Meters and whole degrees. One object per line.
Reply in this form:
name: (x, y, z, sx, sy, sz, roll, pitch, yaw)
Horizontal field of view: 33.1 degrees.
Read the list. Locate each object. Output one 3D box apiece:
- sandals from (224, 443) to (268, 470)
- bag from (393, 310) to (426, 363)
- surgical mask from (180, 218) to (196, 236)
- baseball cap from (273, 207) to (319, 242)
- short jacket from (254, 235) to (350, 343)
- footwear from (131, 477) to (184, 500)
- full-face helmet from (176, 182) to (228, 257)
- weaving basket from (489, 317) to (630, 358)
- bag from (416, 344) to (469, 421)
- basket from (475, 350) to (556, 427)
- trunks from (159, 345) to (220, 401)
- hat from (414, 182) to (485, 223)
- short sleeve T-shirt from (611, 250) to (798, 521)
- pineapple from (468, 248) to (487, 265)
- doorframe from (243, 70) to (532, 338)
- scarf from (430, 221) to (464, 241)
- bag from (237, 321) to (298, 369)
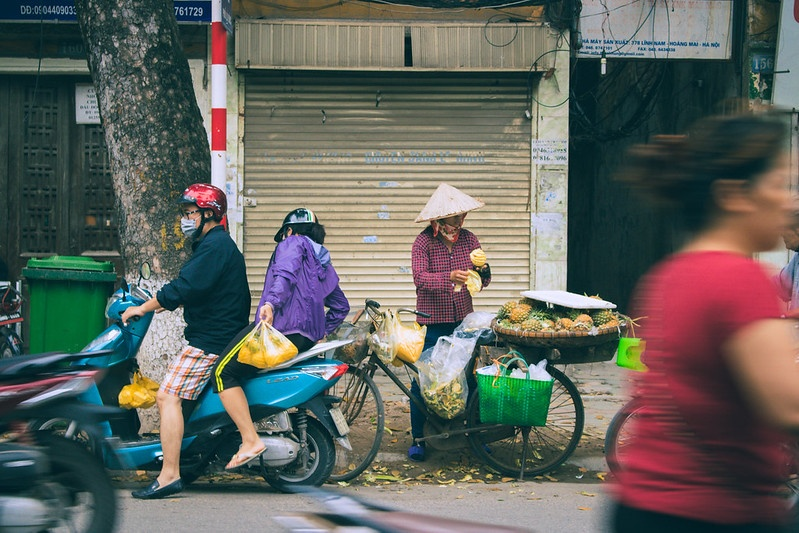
sandals: (-1.400, 1.736, 12.245, 0.441, 0.119, 0.170, -27, 2, 7)
bag: (0.067, 0.665, 12.888, 0.342, 0.162, 0.532, 2, 44, -7)
surgical mask: (-1.956, -0.362, 12.432, 0.162, 0.095, 0.130, -7, 11, -16)
baseball cap: (-1.008, -0.453, 12.975, 0.313, 0.211, 0.398, 17, -26, -42)
short jacket: (-0.989, 0.234, 13.054, 0.467, 0.701, 0.981, -11, -18, 32)
footwear: (-2.177, 2.006, 12.234, 0.503, 0.178, 0.182, -2, -2, -5)
full-face helmet: (-1.832, -0.508, 12.418, 0.564, 0.655, 0.473, 0, 0, -6)
weaving basket: (1.540, 0.712, 13.067, 1.228, 0.323, 1.229, -1, 0, 4)
bag: (0.509, 1.100, 12.997, 0.550, 0.803, 0.529, -5, 3, -33)
basket: (1.084, 1.192, 12.614, 0.784, 0.705, 0.535, 2, -2, 1)
trunks: (-1.908, 0.983, 12.315, 0.333, 0.426, 0.246, 34, -8, -26)
hat: (0.510, -0.613, 13.215, 0.472, 0.189, 0.464, -21, 0, -22)
short sleeve T-shirt: (2.268, 0.784, 10.251, 1.167, 1.991, 1.524, -20, 22, -22)
pineapple: (0.765, -0.086, 13.176, 0.154, 0.177, 0.220, 1, 4, 2)
doorframe: (-0.286, -0.830, 15.436, 3.211, 2.642, 0.465, 0, 7, -2)
scarf: (0.467, -0.348, 13.276, 0.243, 0.139, 0.188, 28, 0, 23)
bag: (-1.239, 0.741, 12.292, 0.651, 0.534, 0.388, -3, -11, -10)
